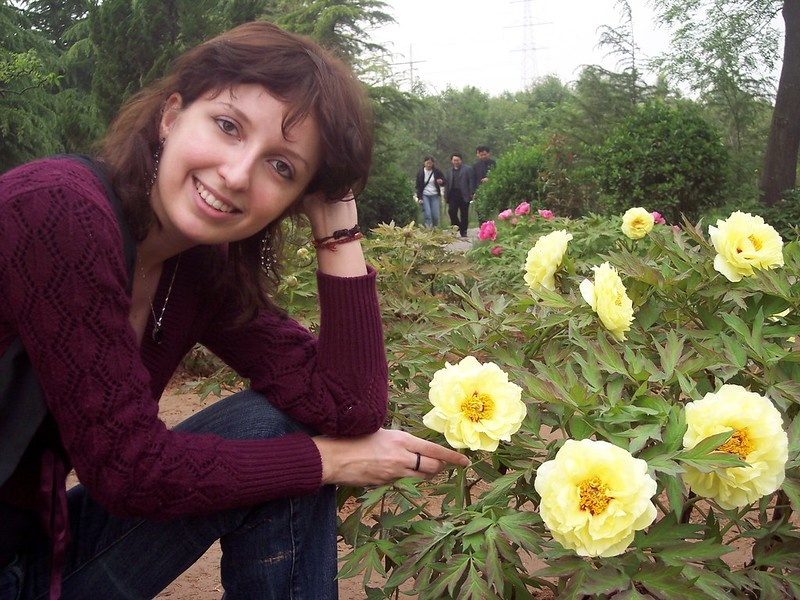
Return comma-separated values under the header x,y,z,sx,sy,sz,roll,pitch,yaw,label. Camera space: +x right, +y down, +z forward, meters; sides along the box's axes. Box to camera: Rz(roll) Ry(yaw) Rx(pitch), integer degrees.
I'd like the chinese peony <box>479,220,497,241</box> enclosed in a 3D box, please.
x,y,z,sx,sy,sz,roll,pitch,yaw,label
1.139,-0.888,6.958,0.206,0.258,0.556,1,10,11,chinese peony

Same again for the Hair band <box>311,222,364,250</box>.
x,y,z,sx,sy,sz,roll,pitch,yaw,label
-0.203,-0.190,1.768,0.113,0.037,0.090,-21,-5,20,Hair band

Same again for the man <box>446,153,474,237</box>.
x,y,z,sx,sy,sz,roll,pitch,yaw,label
1.486,-2.680,13.767,0.714,2.067,0.654,2,26,18,man

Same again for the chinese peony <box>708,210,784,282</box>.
x,y,z,sx,sy,sz,roll,pitch,yaw,label
1.058,-0.170,1.718,0.233,0.249,0.137,-6,-9,-12,chinese peony

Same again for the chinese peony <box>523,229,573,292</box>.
x,y,z,sx,sy,sz,roll,pitch,yaw,label
0.507,-0.142,1.903,0.136,0.207,0.218,5,11,30,chinese peony

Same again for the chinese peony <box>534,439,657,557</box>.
x,y,z,sx,sy,sz,roll,pitch,yaw,label
0.429,0.406,1.166,0.232,0.113,0.252,-3,30,-30,chinese peony

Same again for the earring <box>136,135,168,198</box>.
x,y,z,sx,sy,sz,roll,pitch,yaw,label
-0.662,-0.359,1.463,0.033,0.185,0.047,14,-7,3,earring

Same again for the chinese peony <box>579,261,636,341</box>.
x,y,z,sx,sy,sz,roll,pitch,yaw,label
0.630,0.006,1.621,0.125,0.235,0.223,7,12,37,chinese peony

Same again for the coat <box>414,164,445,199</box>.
x,y,z,sx,sy,sz,roll,pitch,yaw,label
0.747,-3.010,14.182,0.892,1.052,0.713,-1,-11,-1,coat

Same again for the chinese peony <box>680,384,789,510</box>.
x,y,z,sx,sy,sz,roll,pitch,yaw,label
0.735,0.328,1.203,0.196,0.261,0.107,-2,10,-6,chinese peony

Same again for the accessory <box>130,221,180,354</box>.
x,y,z,sx,sy,sz,roll,pitch,yaw,label
-0.716,-0.029,1.586,0.170,0.325,0.075,6,6,-33,accessory

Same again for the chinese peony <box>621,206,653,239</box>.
x,y,z,sx,sy,sz,roll,pitch,yaw,label
1.748,-0.569,3.981,0.187,0.223,0.266,4,11,26,chinese peony
